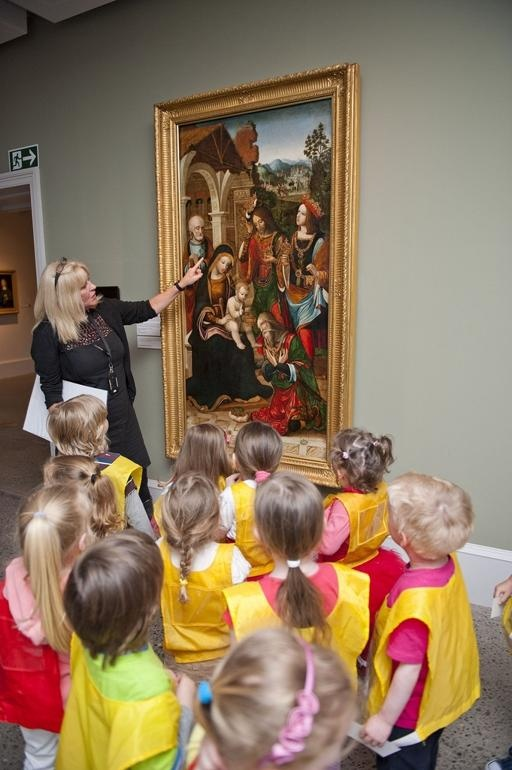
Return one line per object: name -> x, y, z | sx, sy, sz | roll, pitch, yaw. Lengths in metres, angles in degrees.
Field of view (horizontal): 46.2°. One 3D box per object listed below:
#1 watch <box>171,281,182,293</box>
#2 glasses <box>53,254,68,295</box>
watch -> -0.458, -0.564, 3.495 | 0.053, 0.063, 0.024 | -5, -3, 22
glasses -> -0.995, -0.568, 3.084 | 0.045, 0.150, 0.109 | 7, 5, 35
